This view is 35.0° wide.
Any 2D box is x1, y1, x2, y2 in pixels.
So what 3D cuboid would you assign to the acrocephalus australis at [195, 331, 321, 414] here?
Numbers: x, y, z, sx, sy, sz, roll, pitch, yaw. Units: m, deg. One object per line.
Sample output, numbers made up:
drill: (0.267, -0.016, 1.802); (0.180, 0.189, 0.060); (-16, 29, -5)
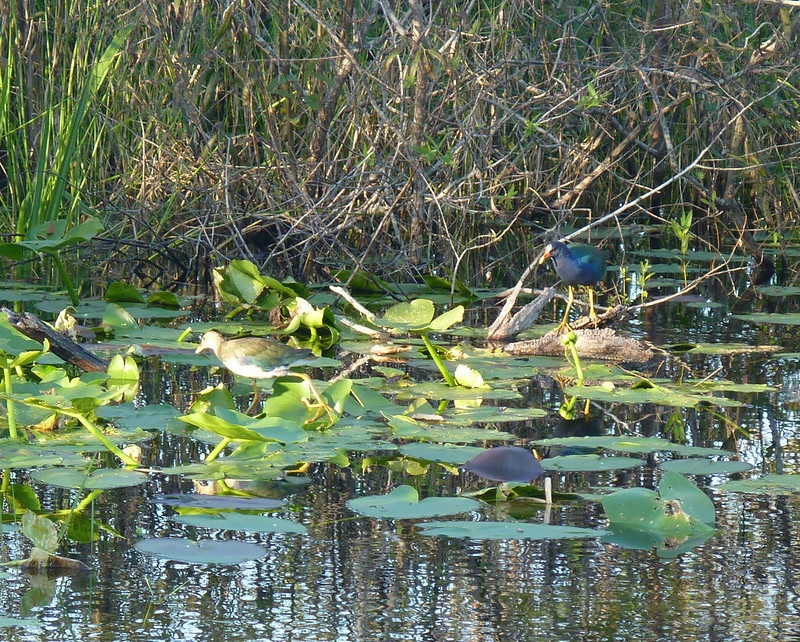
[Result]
acrocephalus australis: (-0.489, 0.178, 4.669); (0.600, 0.371, 0.224); (-3, 15, 22)
